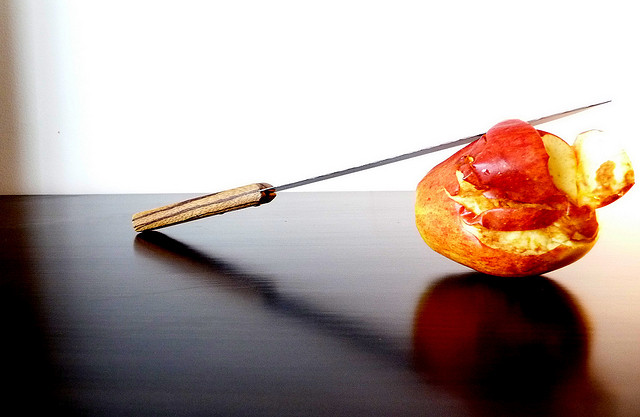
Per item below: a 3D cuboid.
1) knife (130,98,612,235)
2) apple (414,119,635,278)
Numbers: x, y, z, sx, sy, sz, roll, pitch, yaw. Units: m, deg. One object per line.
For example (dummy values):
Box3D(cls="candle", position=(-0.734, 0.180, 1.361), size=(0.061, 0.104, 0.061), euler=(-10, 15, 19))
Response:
Box3D(cls="knife", position=(0.126, -0.122, 1.563), size=(1.515, 0.061, 0.170), euler=(-11, 20, 12))
Box3D(cls="apple", position=(0.325, -0.015, 1.045), size=(0.280, 0.230, 0.206), euler=(-2, 47, -12))
